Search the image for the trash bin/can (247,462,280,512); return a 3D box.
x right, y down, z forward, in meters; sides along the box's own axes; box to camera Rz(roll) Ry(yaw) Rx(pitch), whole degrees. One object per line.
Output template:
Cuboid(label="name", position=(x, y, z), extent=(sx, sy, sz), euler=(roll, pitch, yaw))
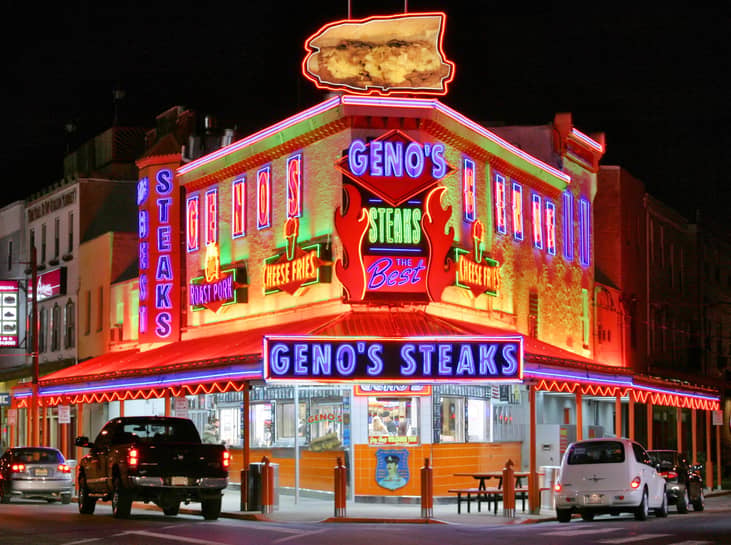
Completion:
Cuboid(label="trash bin/can", position=(-2.867, 6.369, 40.670), extent=(0.887, 1.504, 1.061), euler=(1, 0, 39))

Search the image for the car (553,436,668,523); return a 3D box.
Cuboid(label="car", position=(7.156, 5.984, 39.031), extent=(2.439, 2.603, 3.022), euler=(-11, -15, 34))

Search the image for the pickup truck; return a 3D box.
Cuboid(label="pickup truck", position=(-5.720, 5.488, 39.290), extent=(3.781, 3.213, 3.961), euler=(5, -13, -28))

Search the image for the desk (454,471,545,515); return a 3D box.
Cuboid(label="desk", position=(4.303, 6.873, 42.790), extent=(2.451, 1.184, 2.137), euler=(-5, -8, 13))

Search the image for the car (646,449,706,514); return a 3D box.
Cuboid(label="car", position=(9.860, 6.820, 44.420), extent=(1.754, 1.685, 4.099), euler=(-3, -10, 24))
